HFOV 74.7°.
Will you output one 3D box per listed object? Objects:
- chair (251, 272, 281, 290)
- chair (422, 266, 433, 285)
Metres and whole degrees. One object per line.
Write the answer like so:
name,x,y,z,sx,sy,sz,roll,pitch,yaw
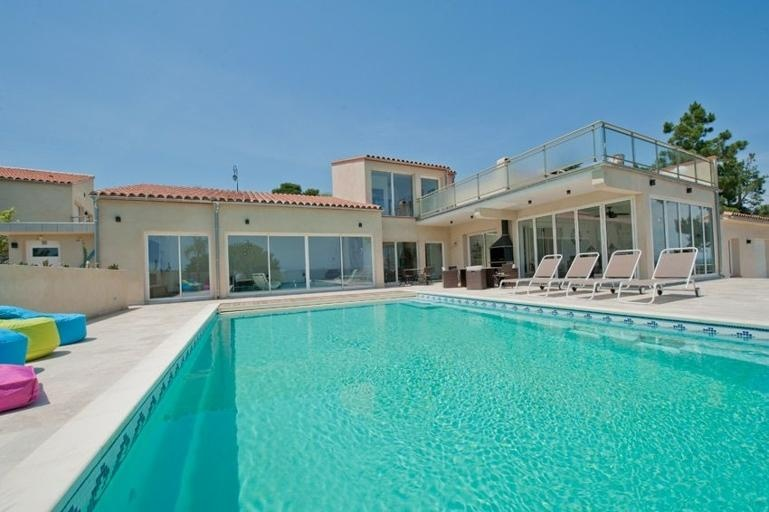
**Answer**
chair,-5.145,1.129,22.306,0.666,0.551,0.886,2,1,35
chair,2.181,1.022,25.933,0.790,1.052,0.730,0,1,-3
